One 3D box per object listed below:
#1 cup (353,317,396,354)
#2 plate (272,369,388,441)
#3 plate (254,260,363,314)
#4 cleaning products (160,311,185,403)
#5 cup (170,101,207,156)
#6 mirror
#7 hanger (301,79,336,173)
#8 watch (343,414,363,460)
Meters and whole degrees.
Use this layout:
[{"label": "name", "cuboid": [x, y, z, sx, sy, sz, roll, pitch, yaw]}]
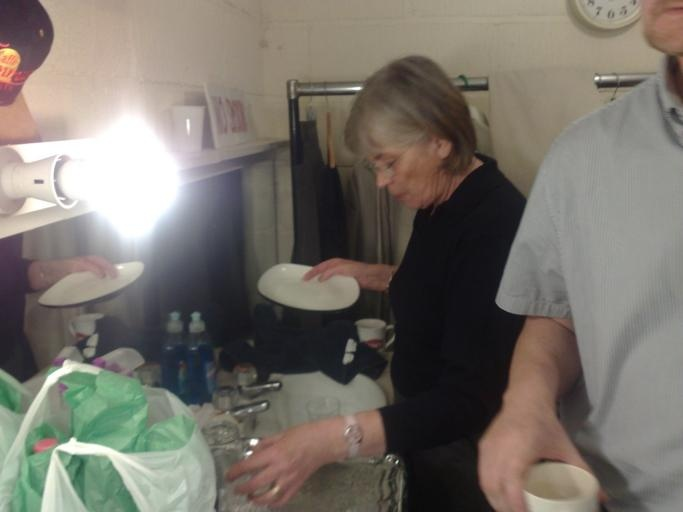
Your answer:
[{"label": "cup", "cuboid": [0.135, 0.291, 2.056, 0.146, 0.110, 0.094, 4, -5, -34]}, {"label": "plate", "cuboid": [-0.039, 0.434, 1.696, 0.223, 0.100, 0.160, 2, 13, -5]}, {"label": "plate", "cuboid": [-0.109, 0.118, 1.935, 0.240, 0.051, 0.189, 11, 27, 1]}, {"label": "cleaning products", "cuboid": [-0.450, 0.262, 1.543, 0.072, 0.245, 0.074, 9, 19, 2]}, {"label": "cup", "cuboid": [-0.418, -0.347, 1.594, 0.091, 0.130, 0.085, -1, 9, 0]}, {"label": "mirror", "cuboid": [-0.434, 0.134, 1.245, 0.074, 0.754, 0.642, 5, 14, 21]}, {"label": "hanger", "cuboid": [-0.089, -0.527, 2.413, 0.122, 0.561, 0.431, -2, 7, -8]}, {"label": "watch", "cuboid": [0.024, 0.396, 1.264, 0.040, 0.083, 0.037, -3, 9, -11]}]
